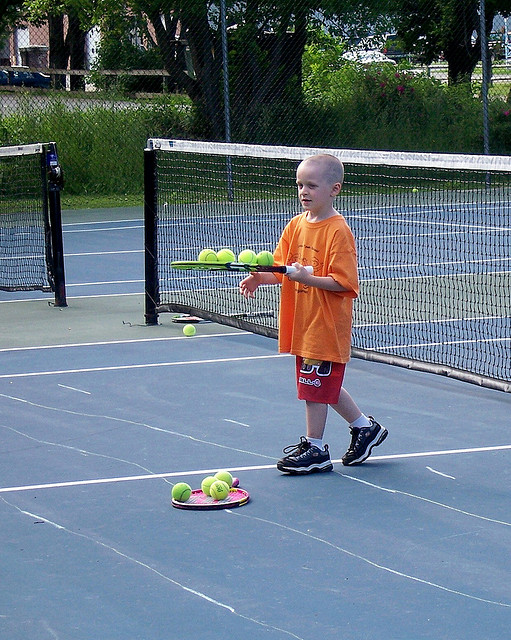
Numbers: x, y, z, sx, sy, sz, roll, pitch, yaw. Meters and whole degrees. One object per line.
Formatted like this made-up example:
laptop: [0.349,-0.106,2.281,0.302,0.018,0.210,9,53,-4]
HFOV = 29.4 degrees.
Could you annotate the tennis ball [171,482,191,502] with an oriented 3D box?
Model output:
tennis ball: [-0.313,0.723,4.106,0.081,0.065,0.074,1,5,16]

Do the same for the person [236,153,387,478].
person: [0.264,-0.023,4.522,0.614,1.471,0.502,-7,14,-26]

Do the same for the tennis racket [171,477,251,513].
tennis racket: [-0.201,0.745,4.188,0.337,0.040,0.292,-2,10,-12]

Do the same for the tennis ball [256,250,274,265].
tennis ball: [0.049,-0.293,4.569,0.073,0.071,0.071,-2,13,0]

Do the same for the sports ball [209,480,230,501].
sports ball: [-0.157,0.719,4.125,0.088,0.070,0.076,0,13,-2]

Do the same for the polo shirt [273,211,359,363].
polo shirt: [0.274,-0.161,4.531,0.540,0.661,0.259,10,8,44]

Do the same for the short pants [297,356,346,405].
short pants: [0.296,0.268,4.410,0.236,0.234,0.150,7,11,1]

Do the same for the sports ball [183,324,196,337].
sports ball: [-0.531,0.072,7.723,0.110,0.079,0.083,0,-31,6]
